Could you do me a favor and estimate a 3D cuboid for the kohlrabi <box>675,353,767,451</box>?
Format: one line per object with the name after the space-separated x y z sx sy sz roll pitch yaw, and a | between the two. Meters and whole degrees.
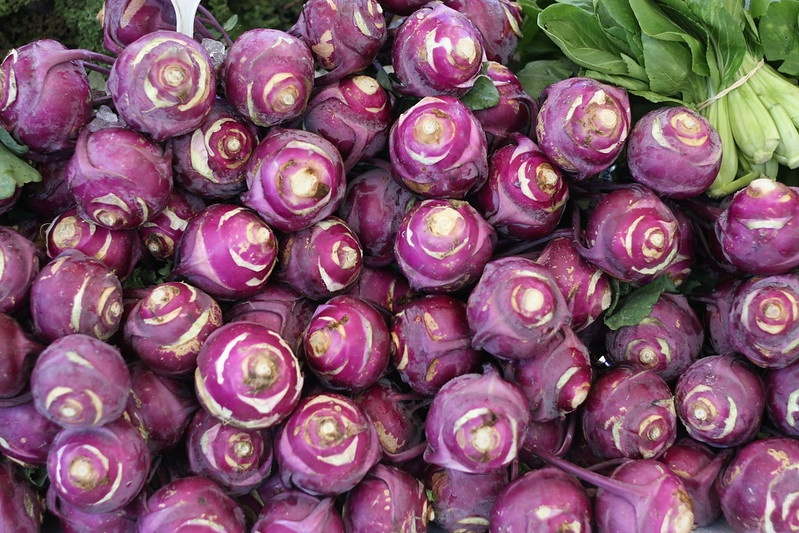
0.758 0.314 1.664 0.214 0.172 0.186 -23 110 -46 | kohlrabi
